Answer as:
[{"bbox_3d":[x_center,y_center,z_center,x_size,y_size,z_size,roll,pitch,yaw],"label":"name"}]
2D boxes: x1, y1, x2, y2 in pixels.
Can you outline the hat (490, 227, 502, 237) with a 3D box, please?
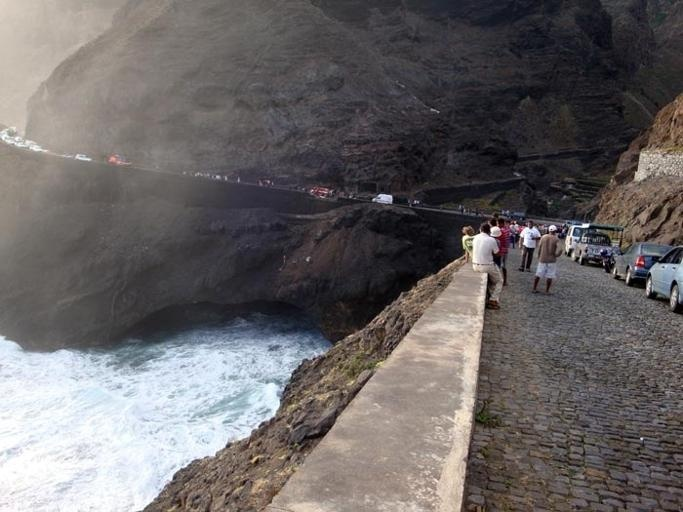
[{"bbox_3d":[3.900,-0.601,12.095,0.243,0.290,0.438,-1,10,14],"label":"hat"}]
